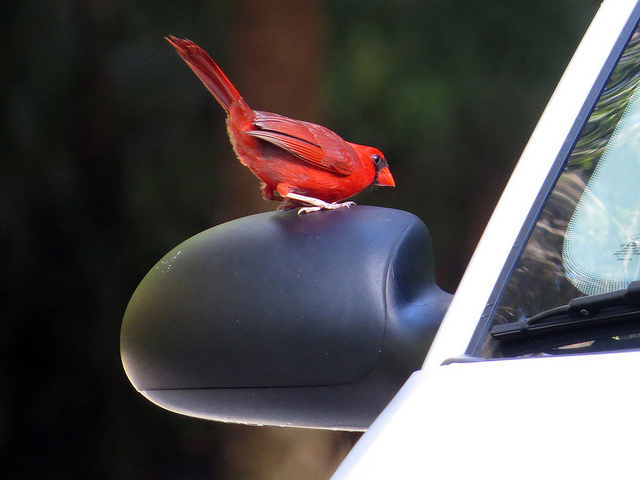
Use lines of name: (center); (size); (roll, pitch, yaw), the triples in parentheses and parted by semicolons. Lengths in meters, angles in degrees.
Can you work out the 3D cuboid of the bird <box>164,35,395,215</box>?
bird: (-0.069, -0.177, 1.646); (0.502, 0.162, 0.306); (16, 69, -20)
